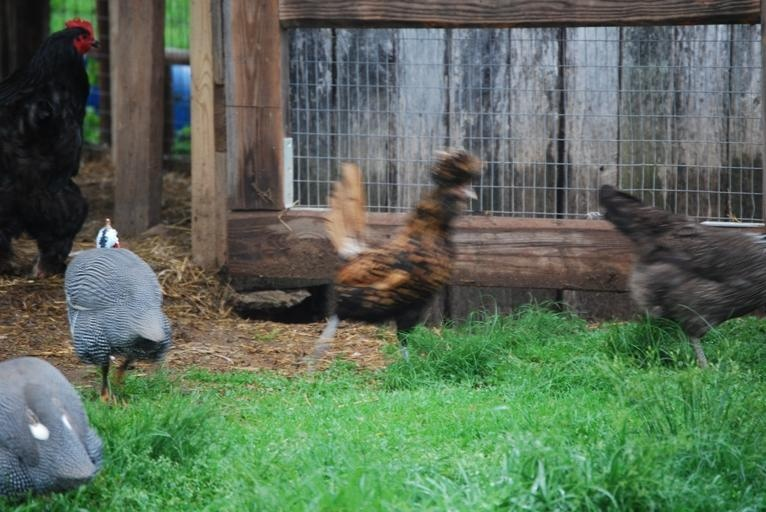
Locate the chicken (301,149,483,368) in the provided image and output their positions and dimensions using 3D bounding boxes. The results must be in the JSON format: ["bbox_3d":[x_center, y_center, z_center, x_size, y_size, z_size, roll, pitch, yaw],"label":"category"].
[{"bbox_3d":[0.150,0.023,8.567,1.630,1.700,0.768,3,11,30],"label":"chicken"}]
